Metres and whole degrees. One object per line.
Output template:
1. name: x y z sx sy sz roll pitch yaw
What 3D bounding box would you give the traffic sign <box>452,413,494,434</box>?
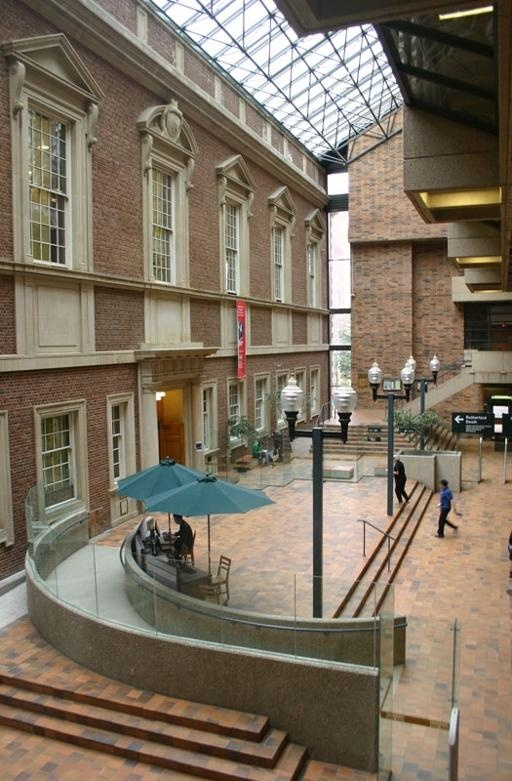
1. traffic sign: 7.703 1.106 21.301 1.379 0.786 1.152 5 4 22

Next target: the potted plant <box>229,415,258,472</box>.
1. potted plant: -0.491 1.651 20.222 0.962 1.374 2.422 3 3 1

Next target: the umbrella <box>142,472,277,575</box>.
1. umbrella: -0.655 1.793 8.373 1.587 1.239 1.560 1 2 43

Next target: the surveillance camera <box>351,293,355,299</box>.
1. surveillance camera: 5.134 -5.029 31.741 0.218 0.242 0.229 0 -9 -4

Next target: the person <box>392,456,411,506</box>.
1. person: 3.950 2.511 16.343 0.454 1.123 1.021 4 3 15

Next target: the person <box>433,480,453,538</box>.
1. person: 4.704 2.871 14.864 0.372 1.484 1.233 4 3 17
